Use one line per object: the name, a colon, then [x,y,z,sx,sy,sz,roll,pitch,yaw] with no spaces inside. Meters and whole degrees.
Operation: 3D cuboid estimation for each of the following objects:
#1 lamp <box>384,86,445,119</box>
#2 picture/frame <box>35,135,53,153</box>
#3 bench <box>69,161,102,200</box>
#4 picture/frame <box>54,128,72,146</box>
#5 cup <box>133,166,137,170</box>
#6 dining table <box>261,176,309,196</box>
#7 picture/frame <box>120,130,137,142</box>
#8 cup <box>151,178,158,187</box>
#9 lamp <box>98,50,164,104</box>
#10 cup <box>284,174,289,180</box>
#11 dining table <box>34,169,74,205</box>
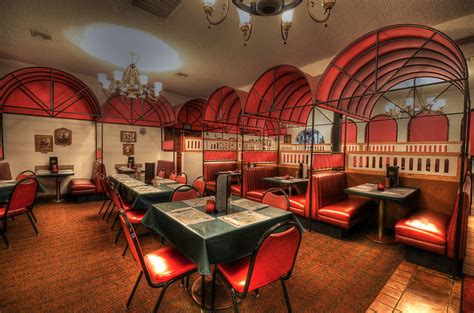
lamp: [7.578,-2.322,12.631,1.847,1.134,1.766,-2,-2,34]
picture/frame: [-6.852,-0.445,10.556,0.632,0.841,0.067,1,-1,-36]
bench: [-5.300,0.944,10.715,1.381,1.410,1.565,2,2,-32]
picture/frame: [-6.354,-0.721,10.850,0.627,0.901,0.144,-2,-2,-41]
cup: [-4.011,0.438,11.770,0.189,0.190,0.191,3,4,0]
dining table: [1.594,0.761,8.998,0.815,0.795,0.797,-6,10,-39]
picture/frame: [-4.507,-0.843,12.298,0.486,0.425,0.066,-1,0,-38]
cup: [-2.269,0.686,8.222,0.149,0.233,0.239,1,-3,-22]
lamp: [-3.400,-2.240,9.397,1.996,1.644,1.837,1,3,-33]
cup: [1.530,0.625,9.110,0.123,0.119,0.126,0,-4,0]
dining table: [-6.175,1.017,10.201,1.071,1.087,1.456,-2,3,-33]
